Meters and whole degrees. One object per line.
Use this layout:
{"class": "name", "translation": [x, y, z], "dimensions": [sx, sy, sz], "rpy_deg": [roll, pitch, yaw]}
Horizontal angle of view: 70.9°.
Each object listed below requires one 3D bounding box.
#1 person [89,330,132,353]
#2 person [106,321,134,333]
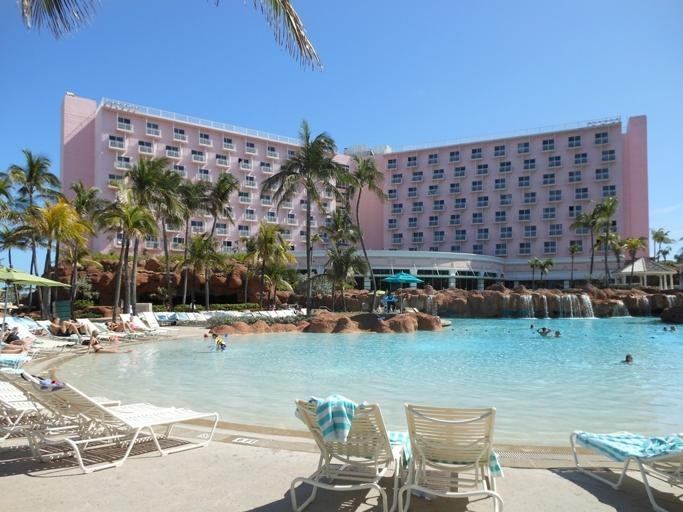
{"class": "person", "translation": [-7.793, 2.896, 16.198], "dimensions": [1.172, 0.588, 0.903], "rpy_deg": [10, -3, -33]}
{"class": "person", "translation": [-9.647, 3.068, 20.843], "dimensions": [1.230, 0.479, 0.528], "rpy_deg": [0, -10, 8]}
